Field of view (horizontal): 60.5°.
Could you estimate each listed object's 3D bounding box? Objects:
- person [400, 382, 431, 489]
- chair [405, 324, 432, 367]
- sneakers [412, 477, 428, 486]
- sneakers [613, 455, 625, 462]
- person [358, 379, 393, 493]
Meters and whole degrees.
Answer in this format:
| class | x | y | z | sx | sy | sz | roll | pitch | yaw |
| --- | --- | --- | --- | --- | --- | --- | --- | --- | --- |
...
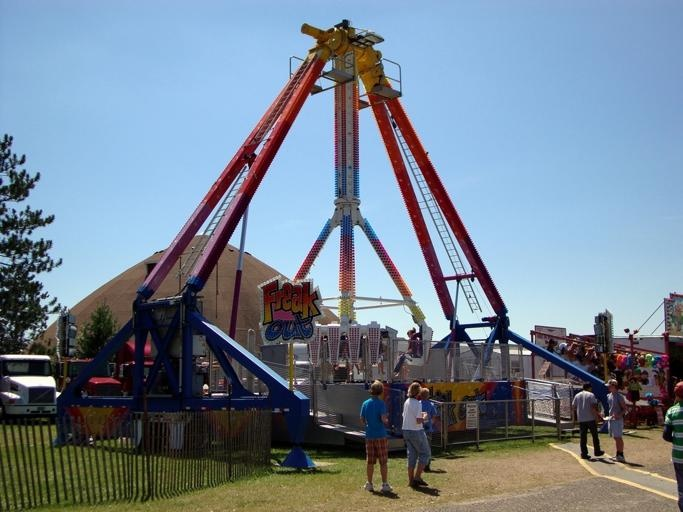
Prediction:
| class | x | y | z | sx | sy | sz | roll | pitch | yaw |
| --- | --- | --- | --- | --- | --- | --- | --- | --- | --- |
| person | 1.679 | 3.927 | 13.087 | 0.584 | 2.298 | 0.942 | 1 | -5 | 8 |
| chair | 2.890 | 3.420 | 22.428 | 0.855 | 1.773 | 0.521 | -4 | -23 | 25 |
| sneakers | 1.741 | 4.969 | 12.942 | 0.398 | 0.170 | 0.132 | 5 | -6 | -37 |
| sneakers | 7.335 | 5.270 | 15.373 | 0.259 | 0.164 | 0.334 | 0 | -6 | 15 |
| person | 0.767 | 3.873 | 12.854 | 0.673 | 2.355 | 1.293 | 1 | -5 | 2 |
